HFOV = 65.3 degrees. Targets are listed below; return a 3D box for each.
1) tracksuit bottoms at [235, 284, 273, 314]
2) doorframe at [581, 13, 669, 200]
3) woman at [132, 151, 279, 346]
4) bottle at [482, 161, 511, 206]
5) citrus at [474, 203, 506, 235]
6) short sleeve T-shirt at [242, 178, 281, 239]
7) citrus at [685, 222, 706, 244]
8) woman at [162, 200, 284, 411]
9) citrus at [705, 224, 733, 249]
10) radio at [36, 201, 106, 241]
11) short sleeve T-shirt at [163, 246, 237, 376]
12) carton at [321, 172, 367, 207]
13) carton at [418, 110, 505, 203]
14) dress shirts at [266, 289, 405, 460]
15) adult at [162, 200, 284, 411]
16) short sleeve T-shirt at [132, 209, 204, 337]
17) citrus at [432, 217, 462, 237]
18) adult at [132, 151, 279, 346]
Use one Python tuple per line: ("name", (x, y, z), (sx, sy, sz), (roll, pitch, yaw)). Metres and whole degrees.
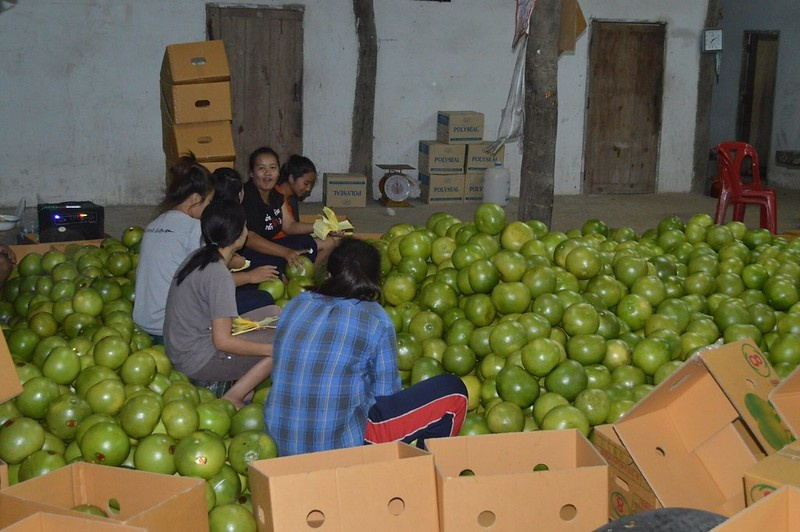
("tracksuit bottoms", (-1.116, 0.280, 4.718), (0.253, 0.100, 0.255), (-6, 2, 30))
("doorframe", (4.378, -3.053, 12.205), (1.579, 3.205, 0.188), (-1, 8, -13))
("woman", (-1.631, -0.335, 4.875), (1.067, 1.551, 1.019), (-12, 33, -43))
("bottle", (1.696, -1.418, 10.965), (0.421, 0.741, 0.450), (1, 8, 0))
("citrus", (0.738, -0.401, 5.103), (0.256, 0.259, 0.245), (1, 13, 8))
("short sleeve T-shirt", (-1.291, -0.519, 5.875), (0.304, 0.551, 0.556), (8, 18, 20))
("citrus", (2.694, -0.307, 5.749), (0.148, 0.161, 0.204), (-7, 15, -1))
("woman", (-1.111, 0.318, 4.202), (0.726, 1.365, 0.825), (11, 11, 30))
("citrus", (2.862, -0.275, 5.624), (0.209, 0.216, 0.202), (-1, 45, -1))
("radio", (-3.708, -0.527, 7.032), (0.694, 0.478, 0.487), (-6, 17, -28))
("short sleeve T-shirt", (-1.360, 0.363, 4.128), (0.698, 0.681, 0.385), (-1, 1, 38))
("carton", (-0.926, -1.273, 10.705), (0.606, 0.464, 0.613), (0, 11, -8))
("carton", (1.039, -1.888, 11.000), (1.799, 1.883, 0.656), (-1, 30, -5))
("dress shirts", (-0.453, 0.455, 3.599), (0.682, 0.960, 0.857), (12, 19, 23))
("adult", (-1.128, 0.331, 4.198), (0.840, 1.385, 0.659), (-2, 11, -43))
("short sleeve T-shirt", (-1.547, 0.071, 4.220), (0.414, 0.812, 0.651), (-4, 23, -40))
("citrus", (0.403, -0.335, 5.411), (0.198, 0.155, 0.160), (-7, 40, 16))
("adult", (-1.660, -0.336, 4.862), (1.067, 1.551, 1.019), (-12, 33, -43))
